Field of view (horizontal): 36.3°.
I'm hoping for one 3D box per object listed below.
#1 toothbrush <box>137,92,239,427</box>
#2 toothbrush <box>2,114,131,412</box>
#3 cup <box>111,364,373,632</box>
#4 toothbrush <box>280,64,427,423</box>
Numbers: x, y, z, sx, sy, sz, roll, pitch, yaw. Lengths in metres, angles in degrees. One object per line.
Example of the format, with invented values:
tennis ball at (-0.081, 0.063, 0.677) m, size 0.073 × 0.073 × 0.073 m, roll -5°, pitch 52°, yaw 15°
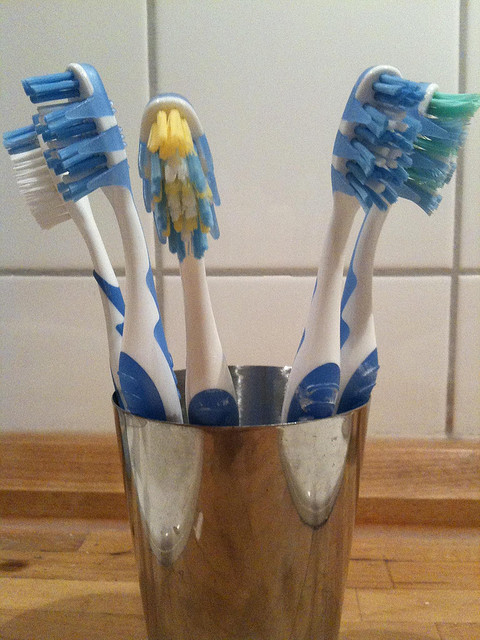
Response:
toothbrush at (-0.030, -0.027, 0.432) m, size 0.057 × 0.203 × 0.064 m, roll -1°, pitch 10°, yaw -3°
toothbrush at (-0.093, -0.029, 0.525) m, size 0.051 × 0.288 × 0.033 m, roll 11°, pitch 39°, yaw 32°
cup at (-0.005, 0.127, 0.518) m, size 0.125 × 0.173 × 0.167 m, roll -1°, pitch -3°, yaw -12°
toothbrush at (0.065, -0.038, 0.447) m, size 0.084 × 0.220 × 0.049 m, roll 2°, pitch 10°, yaw 15°
